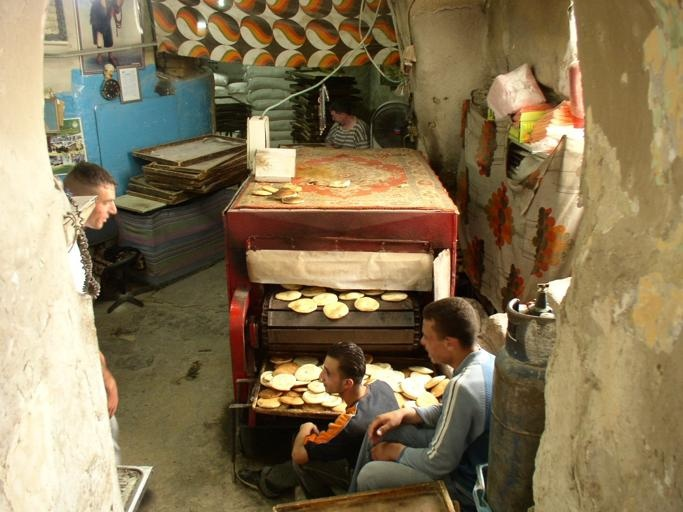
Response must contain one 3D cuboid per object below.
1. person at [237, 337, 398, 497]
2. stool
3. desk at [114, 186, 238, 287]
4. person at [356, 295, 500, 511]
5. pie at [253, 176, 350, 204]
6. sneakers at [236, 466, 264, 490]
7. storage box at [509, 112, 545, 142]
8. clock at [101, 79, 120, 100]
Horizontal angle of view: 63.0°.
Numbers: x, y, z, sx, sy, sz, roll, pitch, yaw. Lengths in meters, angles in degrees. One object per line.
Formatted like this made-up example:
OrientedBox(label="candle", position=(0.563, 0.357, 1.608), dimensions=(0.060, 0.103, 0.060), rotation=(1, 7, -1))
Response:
OrientedBox(label="person", position=(-0.170, 1.245, 3.974), dimensions=(1.268, 1.117, 0.632), rotation=(5, 12, 10))
OrientedBox(label="stool", position=(-2.948, 0.243, 7.232), dimensions=(0.836, 0.709, 0.763), rotation=(1, 11, -28))
OrientedBox(label="desk", position=(-2.247, -0.252, 7.144), dimensions=(0.756, 0.810, 1.280), rotation=(18, 28, 29))
OrientedBox(label="person", position=(0.502, 0.899, 3.357), dimensions=(0.766, 1.105, 0.779), rotation=(3, 19, 13))
OrientedBox(label="pie", position=(-0.400, -0.596, 4.922), dimensions=(0.680, 0.107, 0.843), rotation=(11, 20, 38))
OrientedBox(label="sneakers", position=(-0.720, 1.718, 4.305), dimensions=(0.293, 0.106, 0.096), rotation=(6, 29, 18))
OrientedBox(label="storage box", position=(1.737, -1.247, 5.260), dimensions=(0.313, 0.250, 0.383), rotation=(6, 34, 13))
OrientedBox(label="clock", position=(-3.120, -2.209, 7.403), dimensions=(0.027, 0.273, 0.322), rotation=(7, 20, 23))
